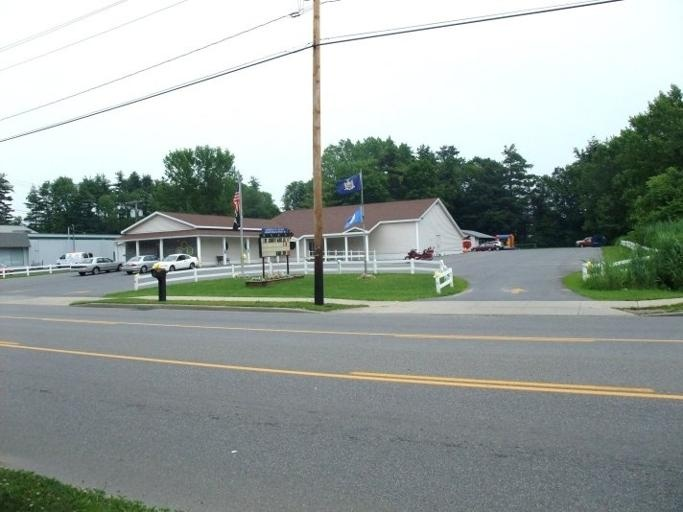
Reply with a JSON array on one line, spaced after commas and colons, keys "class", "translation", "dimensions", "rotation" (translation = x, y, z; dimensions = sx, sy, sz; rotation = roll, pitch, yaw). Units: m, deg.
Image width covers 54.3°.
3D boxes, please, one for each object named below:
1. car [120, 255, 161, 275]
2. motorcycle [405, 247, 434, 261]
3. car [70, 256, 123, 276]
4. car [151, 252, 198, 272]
[{"class": "car", "translation": [-14.577, 0.597, 49.221], "dimensions": [1.168, 0.874, 2.613], "rotation": [0, 5, 8]}, {"class": "motorcycle", "translation": [6.368, -0.050, 52.866], "dimensions": [2.213, 1.334, 1.174], "rotation": [1, 8, -5]}, {"class": "car", "translation": [-19.381, 0.809, 52.735], "dimensions": [2.846, 1.188, 3.648], "rotation": [-3, 7, -10]}, {"class": "car", "translation": [-11.704, 0.423, 47.106], "dimensions": [1.216, 1.019, 2.961], "rotation": [-2, -4, 27]}]
